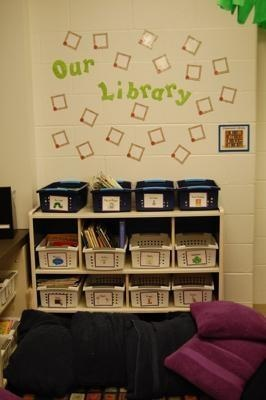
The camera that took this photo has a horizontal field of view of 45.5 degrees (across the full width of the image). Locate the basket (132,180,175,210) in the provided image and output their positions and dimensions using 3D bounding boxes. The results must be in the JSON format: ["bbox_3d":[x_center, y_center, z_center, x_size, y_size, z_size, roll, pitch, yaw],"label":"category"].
[{"bbox_3d":[0.137,-0.027,2.046,0.250,0.185,0.251,0,6,4],"label":"basket"}]

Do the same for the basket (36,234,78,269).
[{"bbox_3d":[-0.493,0.336,2.062,0.276,0.193,0.285,-2,6,-8],"label":"basket"}]

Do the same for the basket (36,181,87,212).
[{"bbox_3d":[-0.450,-0.022,2.076,0.288,0.188,0.334,-1,6,-2],"label":"basket"}]

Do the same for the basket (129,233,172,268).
[{"bbox_3d":[0.116,0.336,2.091,0.276,0.180,0.308,-1,6,1],"label":"basket"}]

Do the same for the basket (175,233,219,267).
[{"bbox_3d":[0.418,0.358,2.155,0.283,0.186,0.420,-3,-3,3],"label":"basket"}]

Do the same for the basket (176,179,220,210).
[{"bbox_3d":[0.409,-0.036,2.037,0.252,0.182,0.277,0,6,9],"label":"basket"}]

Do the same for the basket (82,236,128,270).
[{"bbox_3d":[-0.173,0.313,2.123,0.256,0.172,0.411,1,15,-1],"label":"basket"}]

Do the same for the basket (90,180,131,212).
[{"bbox_3d":[-0.132,0.003,1.976,0.247,0.152,0.099,-1,6,0],"label":"basket"}]
